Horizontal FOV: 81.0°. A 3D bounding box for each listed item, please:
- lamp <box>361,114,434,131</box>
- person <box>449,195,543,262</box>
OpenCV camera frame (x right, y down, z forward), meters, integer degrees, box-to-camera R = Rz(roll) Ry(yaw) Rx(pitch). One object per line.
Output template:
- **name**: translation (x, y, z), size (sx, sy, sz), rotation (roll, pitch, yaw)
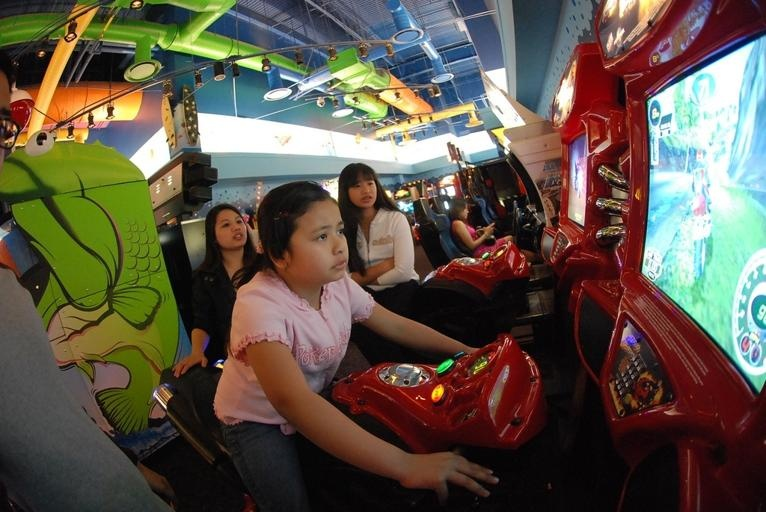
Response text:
- **lamp**: translation (0.763, -5.267, 17.489), size (2.400, 0.364, 0.916), rotation (-7, 6, 32)
- **person**: translation (1.283, -0.396, 6.127), size (1.442, 1.017, 0.652), rotation (-6, 14, 0)
